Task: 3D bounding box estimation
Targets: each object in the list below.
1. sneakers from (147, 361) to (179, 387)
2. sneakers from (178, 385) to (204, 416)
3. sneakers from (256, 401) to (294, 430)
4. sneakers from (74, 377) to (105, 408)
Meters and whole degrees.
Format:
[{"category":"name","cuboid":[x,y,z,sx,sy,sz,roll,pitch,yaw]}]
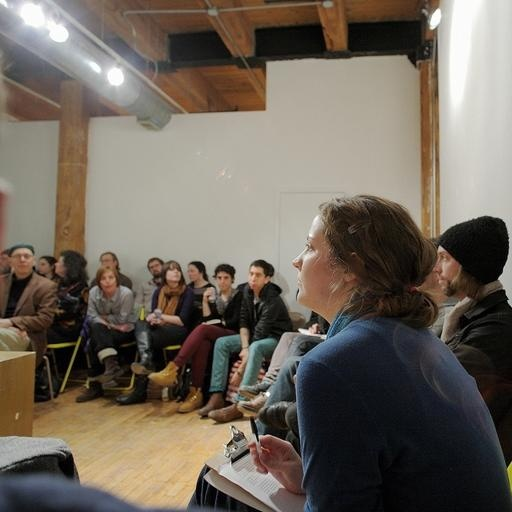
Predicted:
[{"category":"sneakers","cuboid":[-0.855,1.087,4.071,0.265,0.235,0.126,2,-4,-15]},{"category":"sneakers","cuboid":[-0.572,1.288,3.934,0.122,0.176,0.309,-5,-12,28]},{"category":"sneakers","cuboid":[0.103,0.621,1.755,0.168,0.091,0.062,5,14,40]},{"category":"sneakers","cuboid":[-1.589,1.274,4.245,0.185,0.193,0.316,1,-4,3]}]
